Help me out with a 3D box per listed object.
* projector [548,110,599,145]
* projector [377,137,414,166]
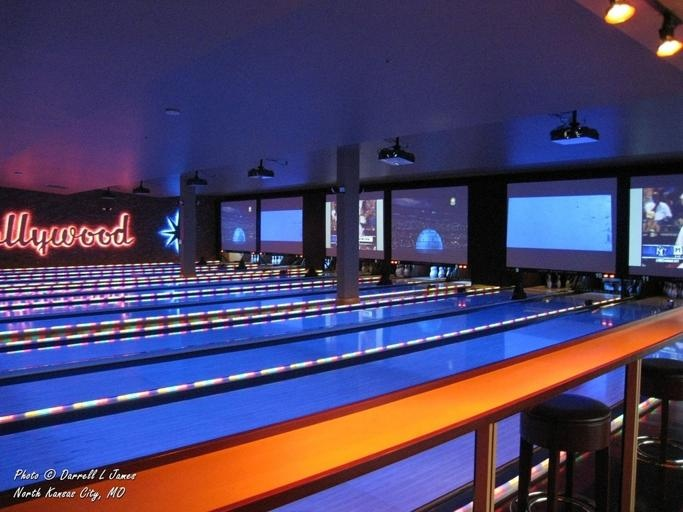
[{"bbox_3d":[2.169,-1.184,4.838,0.380,0.294,0.628,2,6,21],"label":"projector"},{"bbox_3d":[0.644,-1.193,5.933,0.348,0.297,0.810,1,6,10],"label":"projector"}]
